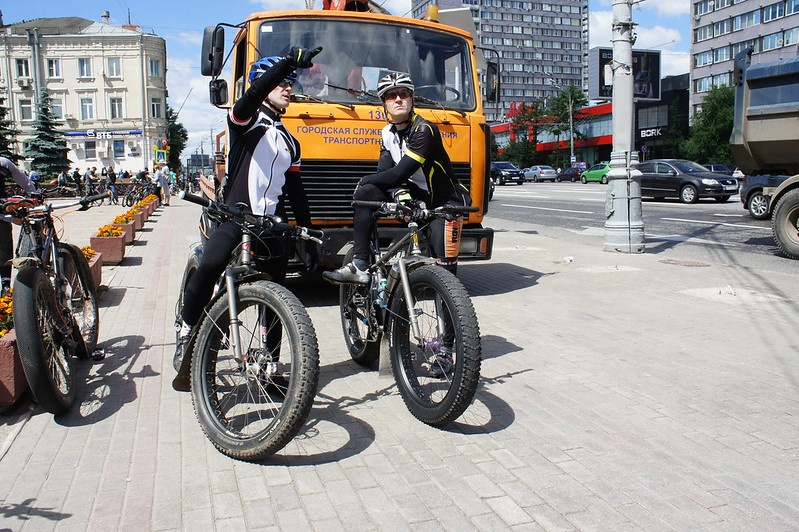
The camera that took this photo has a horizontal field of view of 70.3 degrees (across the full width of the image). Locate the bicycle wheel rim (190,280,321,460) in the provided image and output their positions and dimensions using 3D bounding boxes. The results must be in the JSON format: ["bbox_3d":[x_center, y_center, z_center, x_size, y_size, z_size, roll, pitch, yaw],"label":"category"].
[{"bbox_3d":[-1.081,0.782,4.161,1.237,1.259,0.409,2,-1,44],"label":"bicycle wheel rim"}]

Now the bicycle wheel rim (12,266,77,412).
[{"bbox_3d":[-2.955,0.639,4.704,0.323,1.028,1.017,-11,-8,-13],"label":"bicycle wheel rim"}]

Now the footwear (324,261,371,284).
[{"bbox_3d":[-0.437,0.061,5.083,0.493,0.244,0.166,4,-1,-6],"label":"footwear"}]

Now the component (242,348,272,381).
[{"bbox_3d":[-1.011,0.697,4.051,0.079,0.230,0.208,-17,-34,-13],"label":"component"}]

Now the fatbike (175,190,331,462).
[{"bbox_3d":[-0.962,0.596,4.559,0.981,1.266,2.043,9,4,-32],"label":"fatbike"}]

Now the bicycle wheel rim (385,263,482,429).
[{"bbox_3d":[0.245,0.665,4.496,0.323,1.222,1.192,-5,7,-28],"label":"bicycle wheel rim"}]

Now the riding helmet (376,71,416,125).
[{"bbox_3d":[-0.041,-1.561,5.324,0.360,0.440,0.470,-4,-28,-5],"label":"riding helmet"}]

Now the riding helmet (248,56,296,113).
[{"bbox_3d":[-0.991,-1.440,4.447,0.338,0.445,0.696,-3,12,-13],"label":"riding helmet"}]
